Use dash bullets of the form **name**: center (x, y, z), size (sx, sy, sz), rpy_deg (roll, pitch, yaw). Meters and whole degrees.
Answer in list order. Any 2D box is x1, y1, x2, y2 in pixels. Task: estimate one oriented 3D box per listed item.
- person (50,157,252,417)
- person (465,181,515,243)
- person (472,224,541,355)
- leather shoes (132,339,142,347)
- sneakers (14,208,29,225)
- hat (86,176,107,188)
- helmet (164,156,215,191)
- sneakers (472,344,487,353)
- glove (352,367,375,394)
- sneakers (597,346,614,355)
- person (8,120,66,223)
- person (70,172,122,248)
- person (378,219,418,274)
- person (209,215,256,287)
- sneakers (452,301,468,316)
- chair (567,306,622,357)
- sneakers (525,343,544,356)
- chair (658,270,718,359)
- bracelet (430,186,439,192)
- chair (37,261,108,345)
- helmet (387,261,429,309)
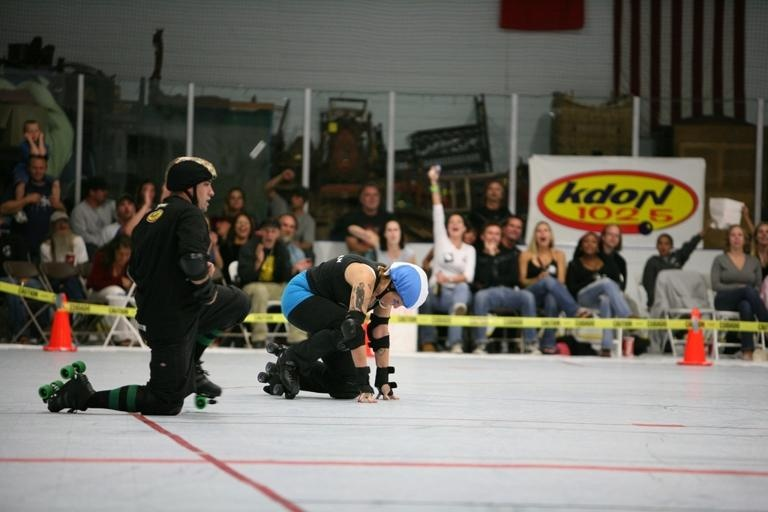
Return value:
- **person**: center (-2.675, 0.344, 14.488), size (1.504, 2.772, 0.953), rpy_deg (1, 15, -7)
- **person**: center (1.808, -0.465, 21.697), size (0.950, 1.524, 0.437), rpy_deg (3, -14, 6)
- **person**: center (1.881, 0.547, 20.593), size (0.961, 1.872, 1.263), rpy_deg (0, 15, -9)
- **leather shoes**: center (-3.911, 1.376, 20.319), size (0.119, 0.105, 0.114), rpy_deg (3, -4, -10)
- **sneakers**: center (-6.034, -0.635, 21.286), size (0.179, 0.232, 0.093), rpy_deg (-7, -1, -17)
- **hat**: center (-4.835, -1.207, 21.645), size (0.262, 0.238, 0.204), rpy_deg (-14, 12, 14)
- **helmet**: center (-2.224, -0.941, 14.761), size (0.510, 0.360, 0.364), rpy_deg (10, 5, 4)
- **sneakers**: center (1.515, 1.466, 20.313), size (0.128, 0.138, 0.164), rpy_deg (8, -8, -10)
- **glove**: center (-0.233, 1.462, 15.290), size (0.209, 0.320, 0.212), rpy_deg (2, 14, -1)
- **sneakers**: center (3.493, 1.492, 20.210), size (0.186, 0.165, 0.266), rpy_deg (4, 14, 8)
- **person**: center (-5.856, -1.522, 21.436), size (0.914, 1.391, 0.871), rpy_deg (9, 9, 22)
- **person**: center (-4.762, -0.614, 21.551), size (0.944, 1.386, 0.993), rpy_deg (-4, 0, 15)
- **person**: center (0.196, -0.125, 19.926), size (0.844, 0.752, 0.411), rpy_deg (1, -6, -11)
- **person**: center (-2.503, -0.154, 21.088), size (0.831, 1.043, 0.365), rpy_deg (1, -5, -4)
- **sneakers**: center (1.203, 0.836, 20.377), size (0.227, 0.188, 0.090), rpy_deg (2, 14, -2)
- **chair**: center (3.342, 1.191, 20.305), size (0.840, 0.753, 0.641), rpy_deg (2, 2, -2)
- **sneakers**: center (2.369, 1.459, 20.313), size (0.278, 0.229, 0.224), rpy_deg (7, 15, 17)
- **chair**: center (5.304, 0.849, 21.042), size (1.298, 1.515, 1.248), rpy_deg (1, -9, -1)
- **bracelet**: center (0.841, -1.096, 21.292), size (0.105, 0.075, 0.106), rpy_deg (1, -4, 2)
- **chair**: center (-4.990, 0.665, 20.653), size (1.049, 1.681, 1.303), rpy_deg (3, 11, -6)
- **helmet**: center (0.266, 0.353, 15.282), size (0.474, 0.500, 0.310), rpy_deg (2, 14, -2)
